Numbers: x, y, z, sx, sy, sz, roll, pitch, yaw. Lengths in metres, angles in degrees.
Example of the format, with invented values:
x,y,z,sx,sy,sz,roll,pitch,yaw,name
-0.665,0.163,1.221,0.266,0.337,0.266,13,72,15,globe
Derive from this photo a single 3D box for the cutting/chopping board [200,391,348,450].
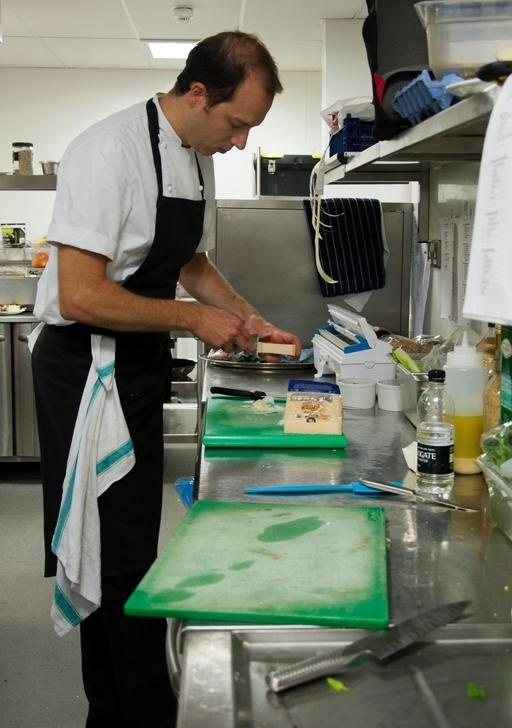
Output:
x,y,z,sx,sy,sz,roll,pitch,yaw,name
0.025,0.130,1.475,0.306,0.062,0.458,1,5,-4,cutting/chopping board

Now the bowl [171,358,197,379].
x,y,z,sx,sy,sz,roll,pitch,yaw,name
-0.421,0.045,3.530,0.158,0.054,0.158,-1,5,0,bowl

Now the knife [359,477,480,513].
x,y,z,sx,sy,sz,roll,pitch,yaw,name
0.261,0.209,0.962,0.153,0.010,0.022,9,6,40,knife

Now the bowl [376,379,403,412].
x,y,z,sx,sy,sz,roll,pitch,yaw,name
0.360,0.083,1.610,0.066,0.053,0.071,0,9,0,bowl

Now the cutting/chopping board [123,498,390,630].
x,y,z,sx,sy,sz,roll,pitch,yaw,name
0.029,0.228,0.741,0.275,0.035,0.387,2,5,5,cutting/chopping board

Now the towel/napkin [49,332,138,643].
x,y,z,sx,sy,sz,roll,pitch,yaw,name
-0.379,0.284,1.389,0.189,0.702,0.174,0,4,-13,towel/napkin

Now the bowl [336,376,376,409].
x,y,z,sx,sy,sz,roll,pitch,yaw,name
0.275,0.072,1.659,0.084,0.053,0.083,-1,7,0,bowl
